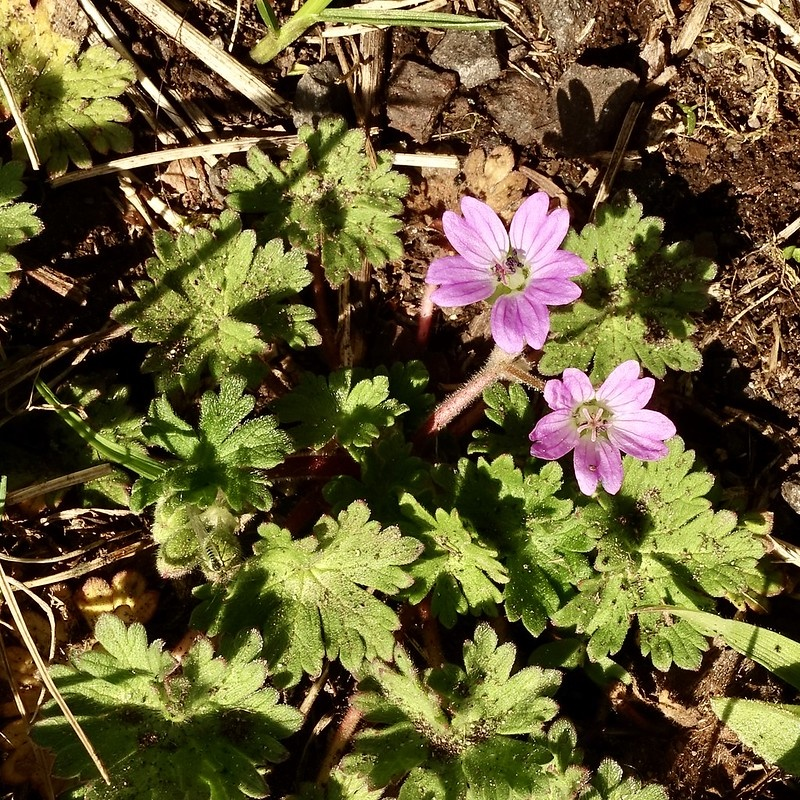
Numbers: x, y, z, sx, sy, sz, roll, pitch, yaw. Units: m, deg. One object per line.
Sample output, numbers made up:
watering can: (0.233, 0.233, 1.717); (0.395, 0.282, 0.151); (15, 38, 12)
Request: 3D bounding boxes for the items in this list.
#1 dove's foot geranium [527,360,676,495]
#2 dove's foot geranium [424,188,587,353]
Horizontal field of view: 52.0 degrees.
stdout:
dove's foot geranium: (0.859, 0.093, 3.628); (0.626, 0.694, 0.233); (25, 60, -23)
dove's foot geranium: (0.469, -0.574, 3.590); (0.739, 0.271, 0.785); (39, 16, 10)
